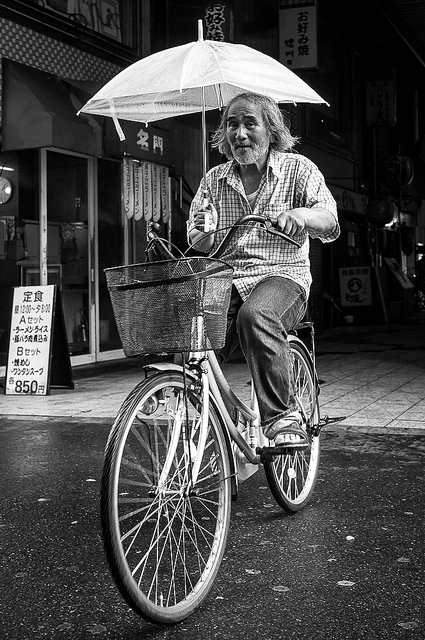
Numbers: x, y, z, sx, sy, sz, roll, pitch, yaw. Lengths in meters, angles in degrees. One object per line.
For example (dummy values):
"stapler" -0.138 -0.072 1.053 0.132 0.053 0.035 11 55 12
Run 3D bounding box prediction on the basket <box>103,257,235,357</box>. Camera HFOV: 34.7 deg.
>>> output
"basket" -0.109 -0.034 1.920 0.380 0.282 0.281 0 2 -13

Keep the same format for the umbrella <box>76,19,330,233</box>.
"umbrella" -0.042 -0.578 3.093 1.042 0.966 1.125 -1 4 7

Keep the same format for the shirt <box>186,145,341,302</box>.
"shirt" 0.164 -0.383 2.684 0.578 0.683 0.423 -3 -12 23
